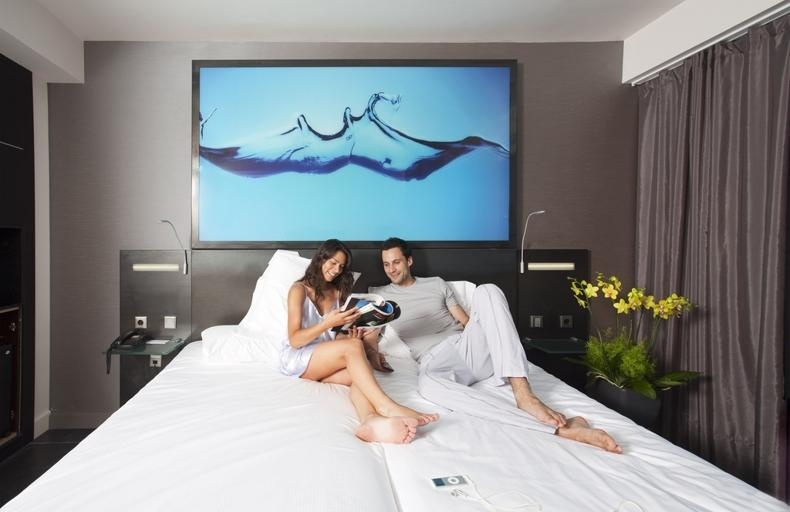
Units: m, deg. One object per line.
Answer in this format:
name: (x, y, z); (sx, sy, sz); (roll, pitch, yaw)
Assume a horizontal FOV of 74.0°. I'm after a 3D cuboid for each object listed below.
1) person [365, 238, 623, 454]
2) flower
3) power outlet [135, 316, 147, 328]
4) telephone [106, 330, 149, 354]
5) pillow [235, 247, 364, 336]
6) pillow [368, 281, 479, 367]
person: (0.521, 0.588, 3.575); (0.712, 1.043, 1.931); (-15, 19, -32)
flower: (1.843, 0.681, 4.185); (1.204, 1.183, 0.870); (0, -1, -3)
power outlet: (-2.147, 0.569, 4.453); (0.094, 0.093, 0.022); (-5, -2, 1)
telephone: (-2.174, 0.685, 4.279); (0.187, 0.090, 0.250); (-6, 0, -2)
pillow: (-0.981, 0.328, 4.199); (0.713, 0.709, 0.211); (21, -13, -5)
pillow: (0.204, 0.490, 4.142); (0.703, 0.645, 0.240); (-5, -20, 0)
